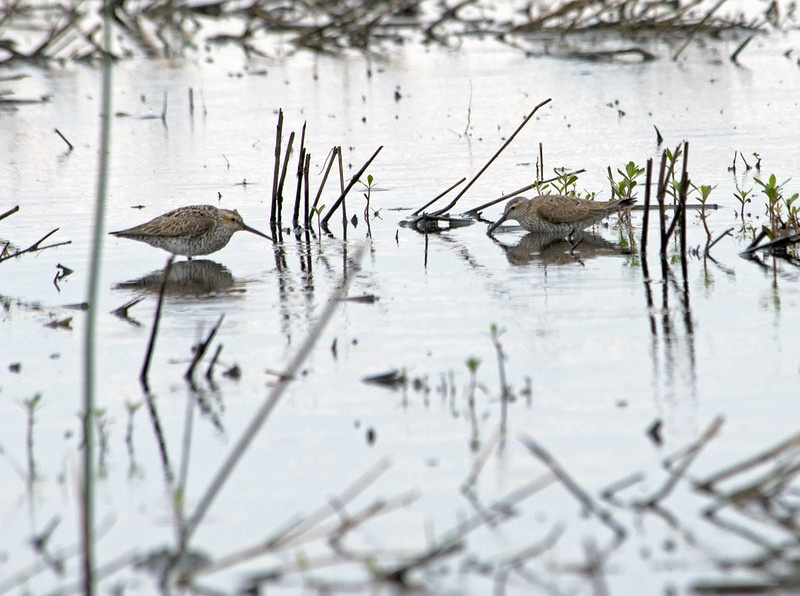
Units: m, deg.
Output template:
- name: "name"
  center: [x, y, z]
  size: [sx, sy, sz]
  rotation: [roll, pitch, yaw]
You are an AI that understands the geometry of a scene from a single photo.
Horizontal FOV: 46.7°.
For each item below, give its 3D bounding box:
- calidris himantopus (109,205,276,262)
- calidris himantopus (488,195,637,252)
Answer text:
- name: "calidris himantopus"
  center: [-2.227, -0.677, 9.547]
  size: [1.578, 0.551, 0.513]
  rotation: [8, 5, 10]
- name: "calidris himantopus"
  center: [1.845, -0.916, 10.446]
  size: [1.745, 0.554, 0.514]
  rotation: [-10, 6, -11]
